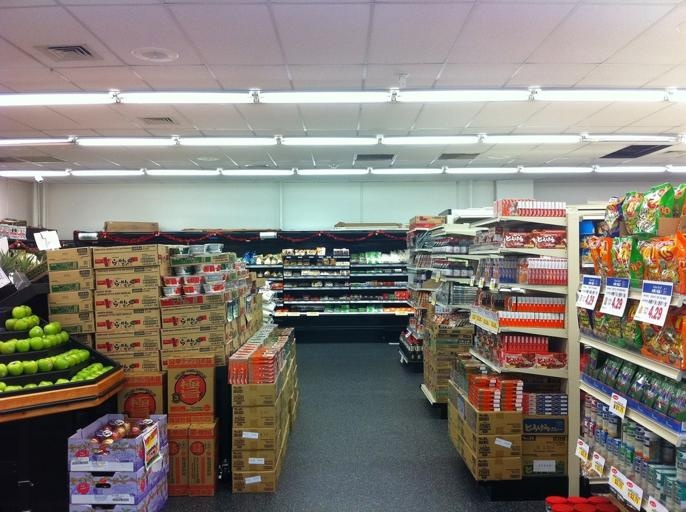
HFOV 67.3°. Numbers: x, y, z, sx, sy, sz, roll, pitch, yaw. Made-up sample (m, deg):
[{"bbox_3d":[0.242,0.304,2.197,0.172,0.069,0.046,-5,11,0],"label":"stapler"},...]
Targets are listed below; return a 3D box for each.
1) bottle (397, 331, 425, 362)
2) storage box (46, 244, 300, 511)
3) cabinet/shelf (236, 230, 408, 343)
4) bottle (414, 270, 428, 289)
[{"bbox_3d":[1.125,1.472,8.342,0.357,0.250,0.921,0,0,-3],"label":"bottle"},{"bbox_3d":[-1.647,1.014,5.261,2.169,2.273,1.461,2,12,2],"label":"storage box"},{"bbox_3d":[-0.289,0.644,10.076,3.296,1.412,0.979,-1,-3,0],"label":"cabinet/shelf"},{"bbox_3d":[1.284,0.372,8.366,0.312,0.301,0.373,3,2,-2],"label":"bottle"}]
